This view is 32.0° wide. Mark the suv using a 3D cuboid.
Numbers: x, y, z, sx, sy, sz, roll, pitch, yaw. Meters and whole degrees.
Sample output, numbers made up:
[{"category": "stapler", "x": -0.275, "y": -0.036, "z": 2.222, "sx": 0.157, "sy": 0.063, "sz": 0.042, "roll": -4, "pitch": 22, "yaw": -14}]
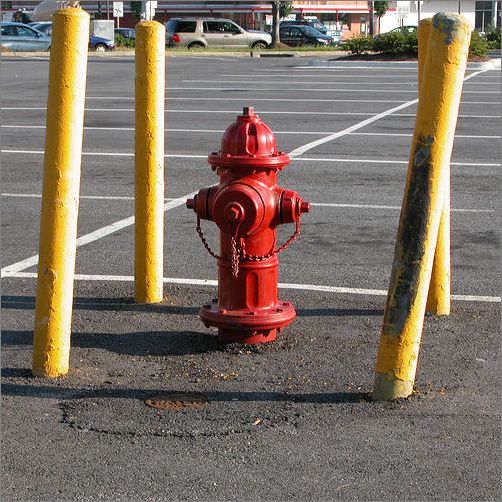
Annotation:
[{"category": "suv", "x": -1.932, "y": -11.603, "z": 46.709, "sx": 5.461, "sy": 1.515, "sz": 0.916, "roll": -7, "pitch": 15, "yaw": -27}]

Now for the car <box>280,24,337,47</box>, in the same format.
[{"category": "car", "x": 3.353, "y": -12.793, "z": 52.373, "sx": 3.050, "sy": 1.192, "sz": 1.622, "roll": -1, "pitch": 14, "yaw": -4}]

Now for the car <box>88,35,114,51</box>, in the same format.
[{"category": "car", "x": -7.875, "y": -10.868, "z": 45.853, "sx": 1.293, "sy": 0.735, "sz": 1.988, "roll": -2, "pitch": 14, "yaw": -10}]

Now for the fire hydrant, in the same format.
[{"category": "fire hydrant", "x": -0.015, "y": -0.134, "z": 4.806, "sx": 0.512, "sy": 1.289, "sz": 0.525, "roll": -11, "pitch": 17, "yaw": -42}]
